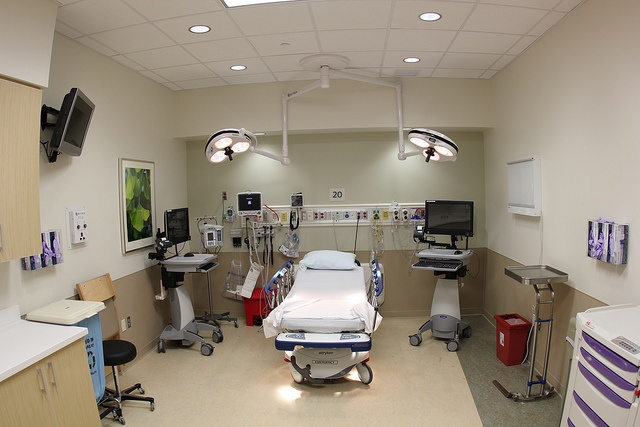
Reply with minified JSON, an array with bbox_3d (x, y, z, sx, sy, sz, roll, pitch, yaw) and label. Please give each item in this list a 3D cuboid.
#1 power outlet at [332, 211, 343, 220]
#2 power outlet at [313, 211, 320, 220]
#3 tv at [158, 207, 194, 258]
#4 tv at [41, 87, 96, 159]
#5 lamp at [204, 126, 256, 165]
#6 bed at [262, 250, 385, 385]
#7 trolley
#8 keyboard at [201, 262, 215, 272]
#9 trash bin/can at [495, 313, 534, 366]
[{"bbox_3d":[0.247,0.017,6.203,0.122,0.091,0.017,1,7,3],"label":"power outlet"},{"bbox_3d":[-0.057,0.021,6.219,0.103,0.114,0.027,-1,3,10],"label":"power outlet"},{"bbox_3d":[-1.978,0.246,5.762,0.213,0.831,0.666,0,3,13],"label":"tv"},{"bbox_3d":[-2.593,-0.869,4.341,0.443,0.689,0.441,-2,3,-3],"label":"tv"},{"bbox_3d":[-1.045,-0.770,4.781,0.491,0.322,0.396,-2,2,0],"label":"lamp"},{"bbox_3d":[0.117,1.216,5.219,1.280,1.366,1.848,-1,2,8],"label":"bed"},{"bbox_3d":[2.249,1.258,4.619,0.684,1.358,0.640,-2,3,-14],"label":"trolley"},{"bbox_3d":[-1.466,0.715,5.656,0.138,0.110,0.433,-2,2,0],"label":"keyboard"},{"bbox_3d":[2.275,1.490,5.272,0.471,0.712,0.546,1,0,-2],"label":"trash bin/can"}]
